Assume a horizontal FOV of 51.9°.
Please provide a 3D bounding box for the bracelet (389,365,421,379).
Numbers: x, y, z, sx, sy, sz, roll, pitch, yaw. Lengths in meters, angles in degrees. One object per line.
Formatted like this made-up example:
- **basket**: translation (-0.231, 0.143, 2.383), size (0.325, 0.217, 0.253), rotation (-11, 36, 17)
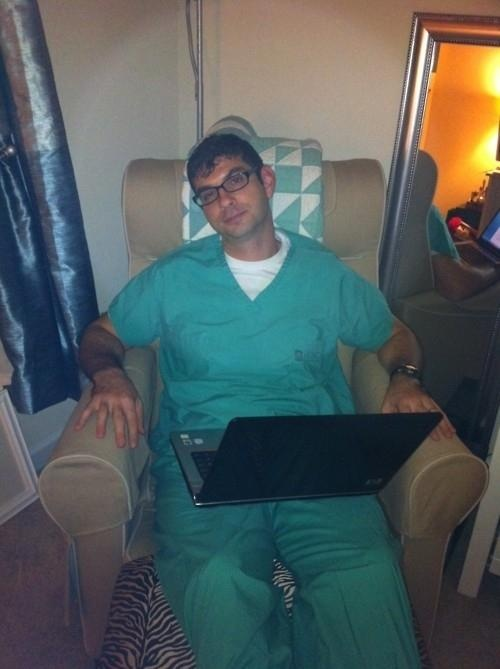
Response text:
- **bracelet**: translation (0.374, 0.087, 1.226), size (0.034, 0.019, 0.043), rotation (0, 19, 5)
